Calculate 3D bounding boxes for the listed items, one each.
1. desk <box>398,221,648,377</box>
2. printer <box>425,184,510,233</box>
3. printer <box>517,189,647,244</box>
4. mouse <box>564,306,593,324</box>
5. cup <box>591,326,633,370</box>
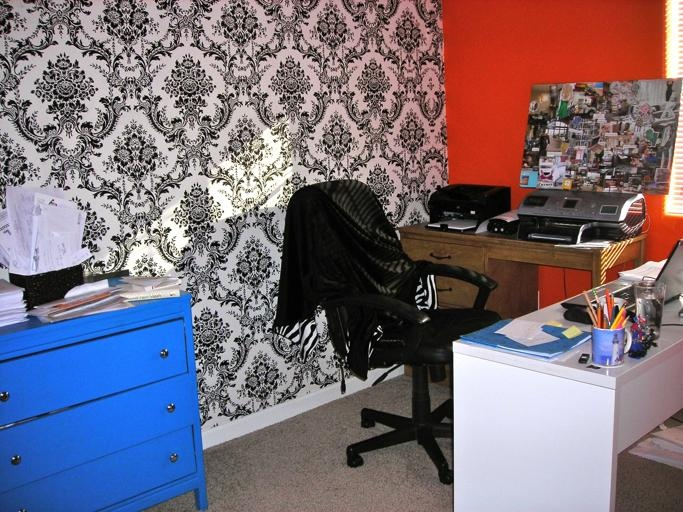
[{"bbox_3d":[1.194,-0.008,3.505,0.659,0.779,1.162,-21,26,-41],"label":"desk"},{"bbox_3d":[0.814,-0.317,3.723,0.386,0.262,0.416,5,12,44],"label":"printer"},{"bbox_3d":[1.355,-0.221,3.251,0.683,0.293,0.368,7,14,23],"label":"printer"},{"bbox_3d":[0.951,0.234,2.266,0.071,0.026,0.064,-5,12,-22],"label":"mouse"},{"bbox_3d":[0.903,0.309,1.978,0.167,0.132,0.100,1,-2,-12],"label":"cup"}]
